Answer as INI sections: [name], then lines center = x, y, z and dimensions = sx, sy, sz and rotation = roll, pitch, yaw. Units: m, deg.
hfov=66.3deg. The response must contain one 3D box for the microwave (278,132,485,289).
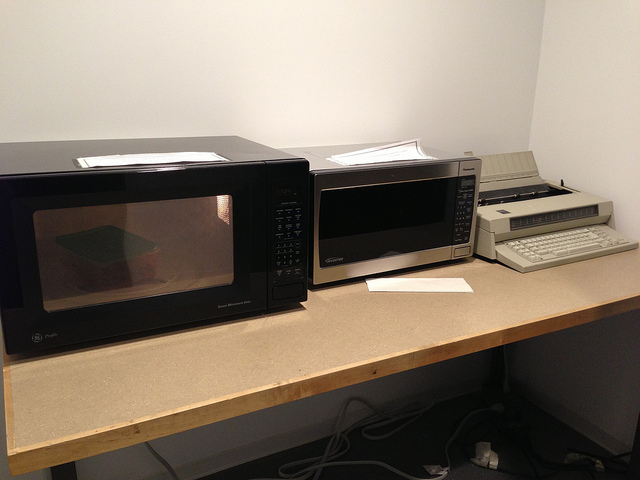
[microwave]
center = 0.170, -0.109, 1.643
dimensions = 0.586, 0.352, 0.405
rotation = -9, 22, -20
